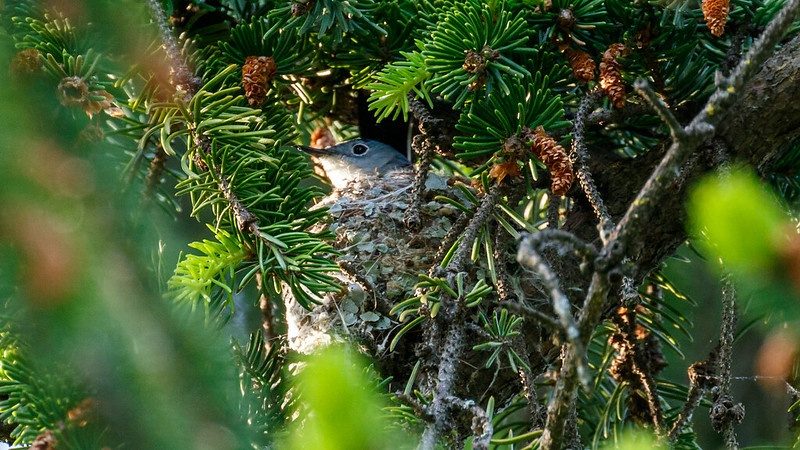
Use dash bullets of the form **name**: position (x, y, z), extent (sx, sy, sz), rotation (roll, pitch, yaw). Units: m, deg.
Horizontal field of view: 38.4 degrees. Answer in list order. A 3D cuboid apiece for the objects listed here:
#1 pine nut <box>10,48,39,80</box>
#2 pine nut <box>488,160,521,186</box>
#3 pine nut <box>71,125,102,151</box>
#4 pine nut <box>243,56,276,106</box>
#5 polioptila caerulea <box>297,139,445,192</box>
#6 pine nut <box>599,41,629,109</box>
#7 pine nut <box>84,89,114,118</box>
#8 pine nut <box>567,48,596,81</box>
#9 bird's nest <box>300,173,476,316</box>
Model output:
- **pine nut**: position (-0.984, -0.418, 3.021), extent (0.068, 0.028, 0.081), rotation (19, 66, -15)
- **pine nut**: position (0.294, -0.146, 3.257), extent (0.084, 0.092, 0.050), rotation (14, 38, 17)
- **pine nut**: position (-0.780, -0.223, 2.889), extent (0.080, 0.043, 0.043), rotation (-4, 9, 3)
- **pine nut**: position (-0.421, -0.424, 3.365), extent (0.087, 0.112, 0.143), rotation (7, 38, 9)
- **polioptila caerulea**: position (-0.116, -0.232, 4.021), extent (0.703, 0.257, 0.307), rotation (-1, 1, -22)
- **pine nut**: position (0.603, -0.431, 3.282), extent (0.051, 0.230, 0.049), rotation (2, 0, 29)
- **pine nut**: position (-0.831, -0.338, 3.150), extent (0.035, 0.071, 0.066), rotation (38, 57, 13)
- **pine nut**: position (0.523, -0.460, 3.334), extent (0.060, 0.070, 0.114), rotation (-19, 42, -25)
- **bird's nest**: position (-0.036, 0.004, 3.748), extent (0.274, 0.670, 0.395), rotation (-10, 0, 27)
